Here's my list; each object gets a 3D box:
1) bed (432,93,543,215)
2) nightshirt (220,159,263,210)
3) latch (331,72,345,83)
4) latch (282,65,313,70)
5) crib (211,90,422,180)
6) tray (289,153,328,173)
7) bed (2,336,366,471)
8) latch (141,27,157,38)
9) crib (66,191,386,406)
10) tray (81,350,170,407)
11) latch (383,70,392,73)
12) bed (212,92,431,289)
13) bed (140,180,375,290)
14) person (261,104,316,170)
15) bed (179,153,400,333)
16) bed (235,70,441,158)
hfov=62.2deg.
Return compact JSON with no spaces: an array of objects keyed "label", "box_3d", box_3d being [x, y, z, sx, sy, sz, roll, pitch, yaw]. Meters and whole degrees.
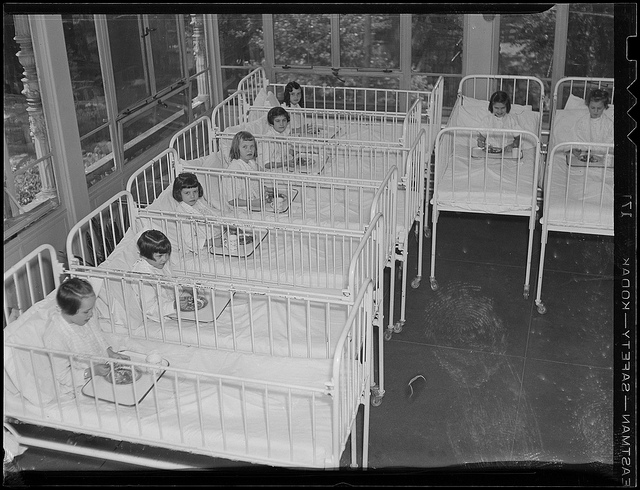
[{"label":"bed","box_3d":[2.054,-1.173,6.380,1.040,0.835,1.961,20,25,14]},{"label":"nightshirt","box_3d":[-0.825,-0.681,5.677,0.361,0.563,0.353,-15,31,-34]},{"label":"latch","box_3d":[0.311,-2.828,8.951,0.211,0.142,0.047,4,16,-3]},{"label":"latch","box_3d":[-0.382,-3.006,9.028,0.511,0.065,0.042,3,16,-9]},{"label":"crib","box_3d":[0.213,-1.536,6.907,1.970,1.016,1.161,2,21,18]},{"label":"tray","box_3d":[-0.086,-0.975,6.348,0.292,0.073,0.408,-1,27,1]},{"label":"bed","box_3d":[-0.765,0.959,3.262,1.985,0.505,1.016,6,29,14]},{"label":"latch","box_3d":[-2.212,-2.764,6.878,0.057,0.088,0.219,9,51,13]},{"label":"crib","box_3d":[-0.881,0.377,4.761,2.752,1.905,1.601,9,33,12]},{"label":"tray","box_3d":[-1.163,0.808,3.287,0.361,0.041,0.356,7,32,17]},{"label":"latch","box_3d":[1.112,-2.850,8.714,0.133,0.047,0.025,6,16,3]},{"label":"bed","box_3d":[0.002,-0.965,7.379,2.988,2.138,2.480,5,40,12]},{"label":"bed","box_3d":[-0.592,0.083,4.828,1.694,0.782,1.005,7,40,10]},{"label":"person","box_3d":[-0.409,-1.299,6.520,0.639,0.756,0.749,4,44,7]},{"label":"bed","box_3d":[-0.477,0.344,5.050,2.091,1.417,1.171,2,2,-3]},{"label":"bed","box_3d":[0.164,-2.061,8.438,2.516,1.585,1.424,2,12,-6]}]
